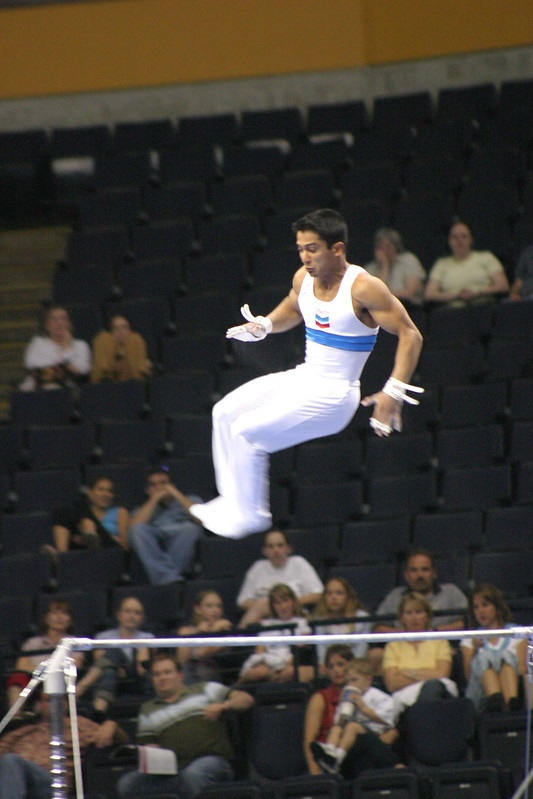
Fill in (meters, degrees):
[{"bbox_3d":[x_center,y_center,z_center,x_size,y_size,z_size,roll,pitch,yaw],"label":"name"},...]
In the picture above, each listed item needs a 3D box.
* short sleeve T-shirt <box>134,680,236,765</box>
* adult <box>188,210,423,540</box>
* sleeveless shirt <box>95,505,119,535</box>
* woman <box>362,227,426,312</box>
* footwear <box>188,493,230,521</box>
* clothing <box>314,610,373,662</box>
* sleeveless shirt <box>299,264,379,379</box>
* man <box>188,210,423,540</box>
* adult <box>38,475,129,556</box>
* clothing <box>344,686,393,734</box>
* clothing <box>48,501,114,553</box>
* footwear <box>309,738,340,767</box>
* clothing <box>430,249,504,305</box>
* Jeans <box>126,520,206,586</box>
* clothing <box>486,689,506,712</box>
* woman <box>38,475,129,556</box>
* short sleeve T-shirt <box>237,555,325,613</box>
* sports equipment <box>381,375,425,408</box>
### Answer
[{"bbox_3d":[-0.399,1.725,9.320,0.569,0.451,0.305,-19,-12,2],"label":"short sleeve T-shirt"},{"bbox_3d":[0.229,-0.119,8.835,1.132,1.644,0.588,2,6,39],"label":"adult"},{"bbox_3d":[-0.982,0.760,10.941,0.118,0.170,0.094,-2,5,-5],"label":"sleeveless shirt"},{"bbox_3d":[0.851,-0.860,11.849,0.470,0.537,0.401,2,10,35],"label":"woman"},{"bbox_3d":[-0.281,0.574,9.053,0.204,0.055,0.138,-15,28,-16],"label":"footwear"},{"bbox_3d":[0.445,1.340,9.806,0.294,0.338,0.308,1,-21,19],"label":"clothing"},{"bbox_3d":[0.390,-0.392,8.962,0.403,0.501,0.292,5,-1,36],"label":"sleeveless shirt"},{"bbox_3d":[0.229,-0.119,8.835,1.132,1.644,0.588,2,6,39],"label":"man"},{"bbox_3d":[-1.107,0.759,10.948,0.534,0.231,0.643,5,42,-15],"label":"adult"},{"bbox_3d":[0.584,1.667,9.395,0.282,0.231,0.114,26,-8,-8],"label":"clothing"},{"bbox_3d":[-1.188,0.820,10.955,0.369,0.117,0.336,5,7,-8],"label":"clothing"},{"bbox_3d":[0.324,1.874,9.294,0.147,0.053,0.106,41,16,16],"label":"footwear"},{"bbox_3d":[1.437,-0.834,11.963,0.547,0.345,0.285,-12,4,15],"label":"clothing"},{"bbox_3d":[-0.625,0.954,10.757,0.627,0.500,0.198,-1,-2,-3],"label":"Jeans"},{"bbox_3d":[1.297,1.642,9.532,0.097,0.099,0.112,1,-30,7],"label":"clothing"},{"bbox_3d":[-1.098,0.756,10.941,0.534,0.231,0.646,5,42,-12],"label":"woman"},{"bbox_3d":[0.108,1.192,10.468,0.624,0.364,0.284,-8,-24,3],"label":"short sleeve T-shirt"},{"bbox_3d":[0.679,-0.030,8.662,0.249,0.132,0.060,18,-31,7],"label":"sports equipment"}]
